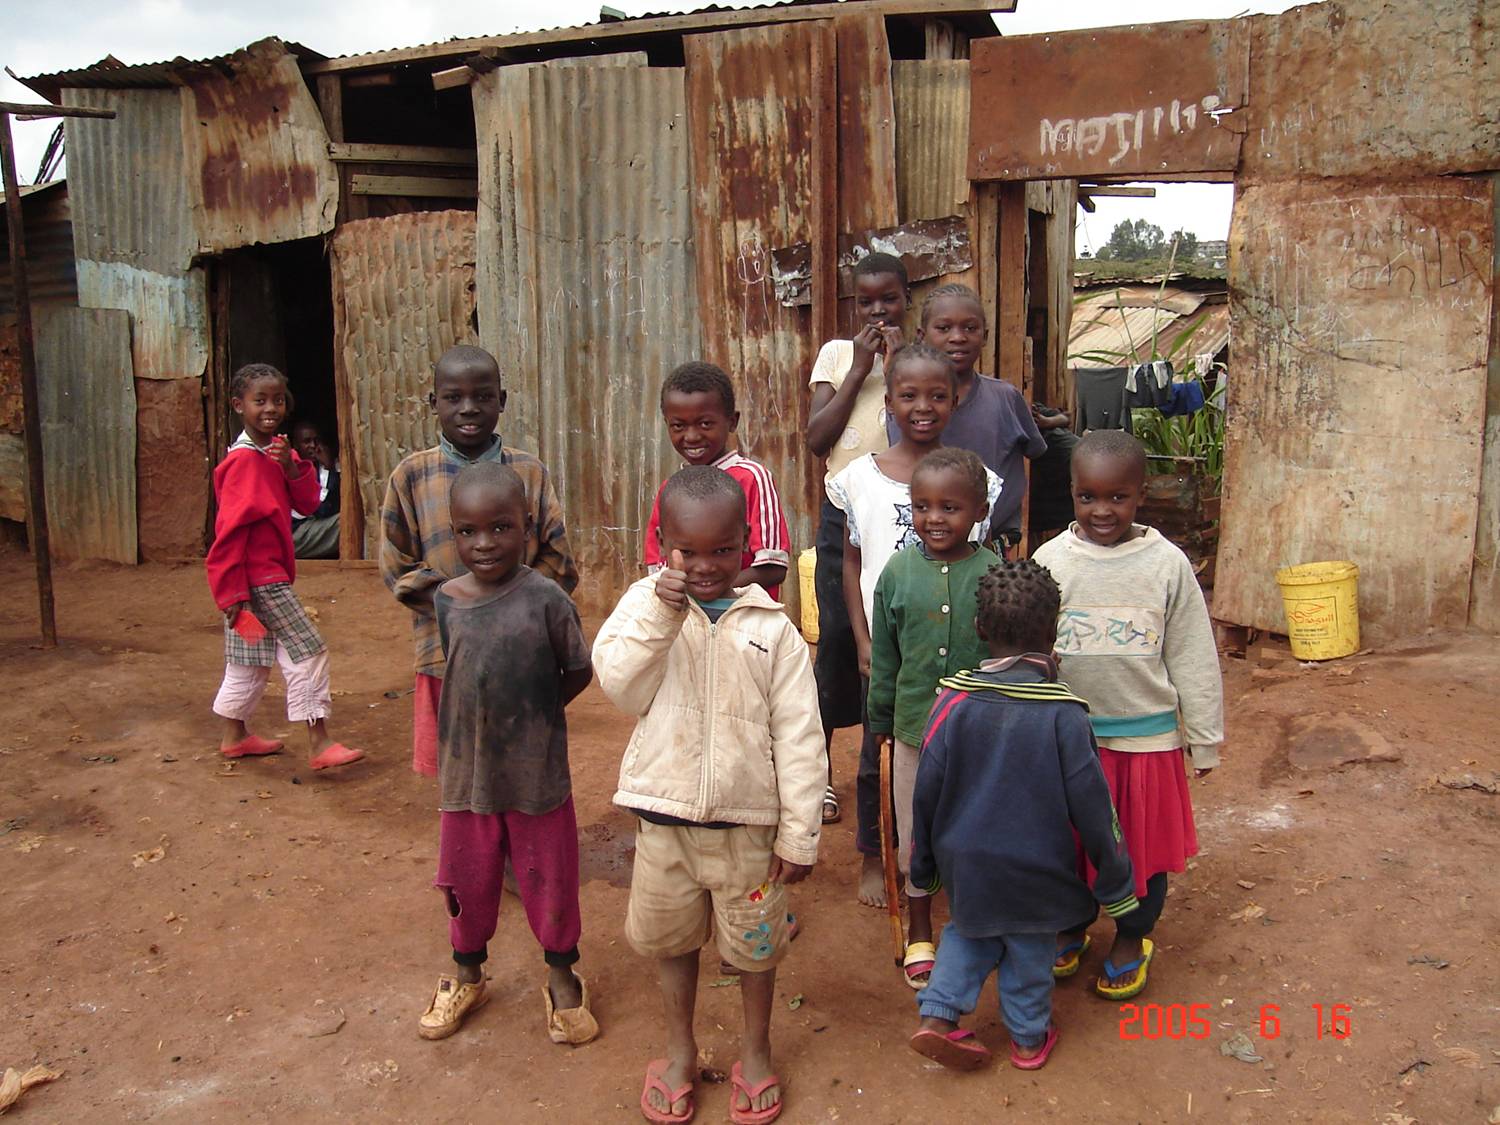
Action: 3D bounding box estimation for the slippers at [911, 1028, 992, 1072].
[{"bbox_3d":[0.645,1.547,4.287,0.257,0.130,0.110,21,30,-7],"label":"slippers"}]

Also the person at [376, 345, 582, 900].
[{"bbox_3d":[-1.056,-0.002,5.202,0.747,1.699,0.641,-3,18,-15],"label":"person"}]

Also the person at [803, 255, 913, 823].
[{"bbox_3d":[0.500,-0.244,5.688,0.509,2.072,0.547,-3,5,-32],"label":"person"}]

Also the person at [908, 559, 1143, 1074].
[{"bbox_3d":[0.852,0.828,4.342,0.758,1.593,0.523,-3,13,-7],"label":"person"}]

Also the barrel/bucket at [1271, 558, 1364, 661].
[{"bbox_3d":[3.142,0.241,7.313,0.411,0.489,0.415,-12,14,3],"label":"barrel/bucket"}]

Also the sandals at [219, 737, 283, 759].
[{"bbox_3d":[-2.506,0.907,6.677,0.227,0.096,0.112,-2,6,-29],"label":"sandals"}]

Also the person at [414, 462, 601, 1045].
[{"bbox_3d":[-0.852,0.649,4.566,0.622,1.966,0.469,-1,13,0],"label":"person"}]

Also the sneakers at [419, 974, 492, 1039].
[{"bbox_3d":[-1.031,1.554,4.684,0.108,0.135,0.290,6,4,17],"label":"sneakers"}]

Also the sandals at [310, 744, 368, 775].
[{"bbox_3d":[-2.005,0.958,6.488,0.223,0.105,0.119,-7,0,21],"label":"sandals"}]

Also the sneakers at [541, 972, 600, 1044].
[{"bbox_3d":[-0.641,1.546,4.667,0.170,0.085,0.357,-6,26,-16],"label":"sneakers"}]

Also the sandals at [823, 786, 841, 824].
[{"bbox_3d":[0.366,1.068,5.879,0.130,0.106,0.372,0,3,5],"label":"sandals"}]

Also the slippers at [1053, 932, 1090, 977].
[{"bbox_3d":[1.156,1.407,4.787,0.089,0.095,0.257,-1,-3,26],"label":"slippers"}]

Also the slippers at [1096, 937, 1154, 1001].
[{"bbox_3d":[1.310,1.422,4.645,0.111,0.109,0.291,-6,-1,29],"label":"slippers"}]

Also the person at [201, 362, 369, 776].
[{"bbox_3d":[-2.340,0.024,6.482,0.643,1.964,0.705,-7,14,-23],"label":"person"}]
